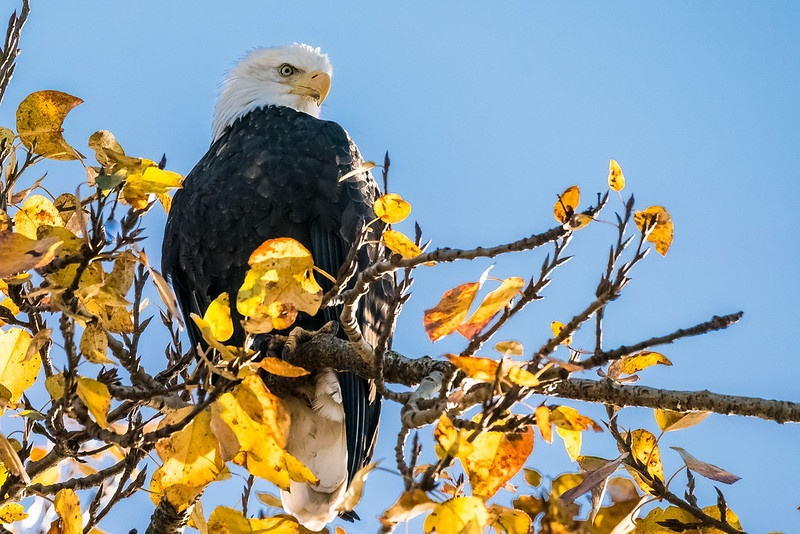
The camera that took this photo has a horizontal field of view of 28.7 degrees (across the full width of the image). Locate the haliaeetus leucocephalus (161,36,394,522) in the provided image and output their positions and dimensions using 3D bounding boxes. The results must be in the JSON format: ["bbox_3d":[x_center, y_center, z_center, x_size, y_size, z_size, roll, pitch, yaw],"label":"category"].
[{"bbox_3d":[-0.426,0.168,5.607,0.796,1.843,0.905,-17,-34,5],"label":"haliaeetus leucocephalus"}]
